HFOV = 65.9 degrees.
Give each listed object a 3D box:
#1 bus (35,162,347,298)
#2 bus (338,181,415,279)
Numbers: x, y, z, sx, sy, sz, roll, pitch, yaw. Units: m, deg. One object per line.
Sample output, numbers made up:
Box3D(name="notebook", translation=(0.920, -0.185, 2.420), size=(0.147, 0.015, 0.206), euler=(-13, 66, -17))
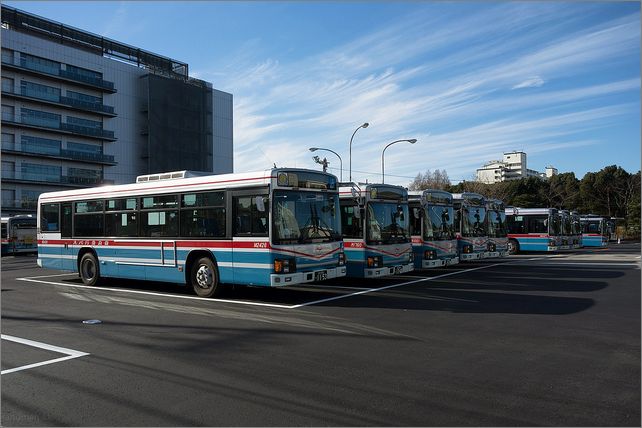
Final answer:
Box3D(name="bus", translation=(-5.418, 0.557, 18.202), size=(13.175, 4.276, 3.177), euler=(2, 6, 32))
Box3D(name="bus", translation=(1.591, 0.603, 20.257), size=(3.123, 3.253, 5.333), euler=(-2, 0, -25))
